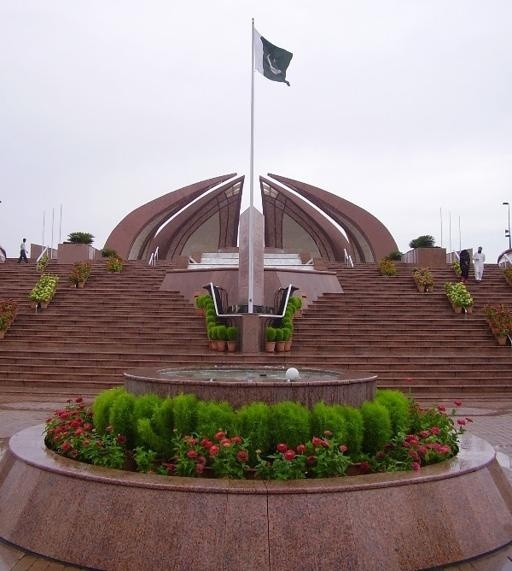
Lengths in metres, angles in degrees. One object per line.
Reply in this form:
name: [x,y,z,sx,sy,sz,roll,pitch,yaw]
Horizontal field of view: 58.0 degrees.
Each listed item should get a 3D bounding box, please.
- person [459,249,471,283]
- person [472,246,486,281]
person: [7.642,-0.710,16.945,0.315,1.149,0.976,4,-4,21]
person: [8.194,-0.727,17.034,0.374,1.179,1.593,4,-4,25]
